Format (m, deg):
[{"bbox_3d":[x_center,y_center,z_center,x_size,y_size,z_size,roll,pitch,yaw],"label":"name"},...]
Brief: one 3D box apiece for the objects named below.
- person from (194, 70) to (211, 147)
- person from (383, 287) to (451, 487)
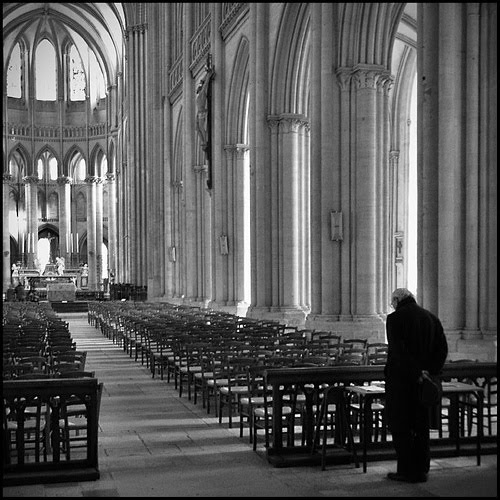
[{"bbox_3d":[-1.664,-5.146,36.915,0.439,2.801,1.358,-1,-5,-9],"label":"person"},{"bbox_3d":[1.933,1.567,11.718,0.693,2.241,0.438,-2,-5,5],"label":"person"}]
